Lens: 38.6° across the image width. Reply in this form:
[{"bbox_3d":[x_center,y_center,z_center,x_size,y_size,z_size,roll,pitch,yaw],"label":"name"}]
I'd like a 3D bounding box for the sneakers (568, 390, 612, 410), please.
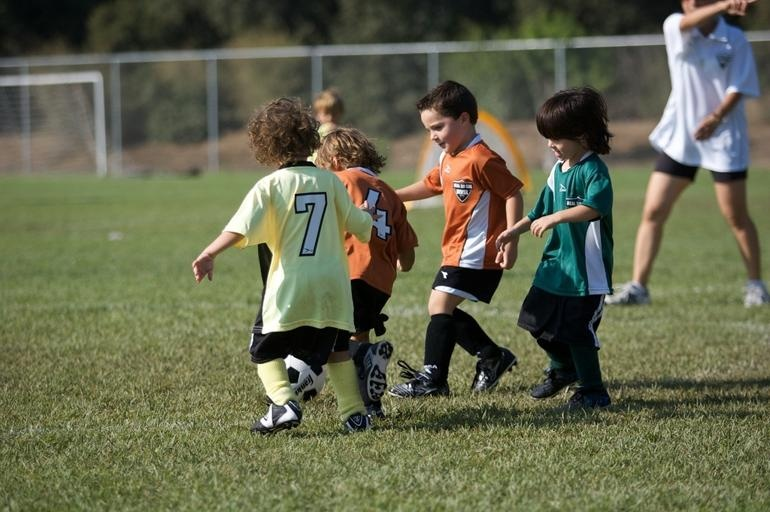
[{"bbox_3d":[1.329,0.942,7.129,0.306,0.148,0.116,-1,1,-4],"label":"sneakers"}]

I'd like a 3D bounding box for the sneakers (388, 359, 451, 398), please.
[{"bbox_3d":[0.236,0.830,7.424,0.382,0.189,0.213,2,0,-3],"label":"sneakers"}]

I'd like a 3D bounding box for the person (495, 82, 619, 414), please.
[{"bbox_3d":[1.160,-0.052,7.132,0.614,2.055,0.512,0,8,10],"label":"person"}]

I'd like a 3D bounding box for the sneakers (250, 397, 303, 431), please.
[{"bbox_3d":[-0.649,1.022,6.840,0.362,0.137,0.185,-21,47,17],"label":"sneakers"}]

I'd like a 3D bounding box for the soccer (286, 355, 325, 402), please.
[{"bbox_3d":[-0.523,0.777,7.042,0.239,0.205,0.208,-15,-29,-39],"label":"soccer"}]

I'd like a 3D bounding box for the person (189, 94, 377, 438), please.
[{"bbox_3d":[-0.562,0.047,6.862,0.924,2.042,0.504,-2,8,-4],"label":"person"}]

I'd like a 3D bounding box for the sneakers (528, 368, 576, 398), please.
[{"bbox_3d":[1.129,0.862,7.357,0.246,0.115,0.087,-25,24,-10],"label":"sneakers"}]

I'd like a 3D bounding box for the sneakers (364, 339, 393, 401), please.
[{"bbox_3d":[-0.040,0.757,7.219,0.145,0.419,0.179,13,-17,-37],"label":"sneakers"}]
